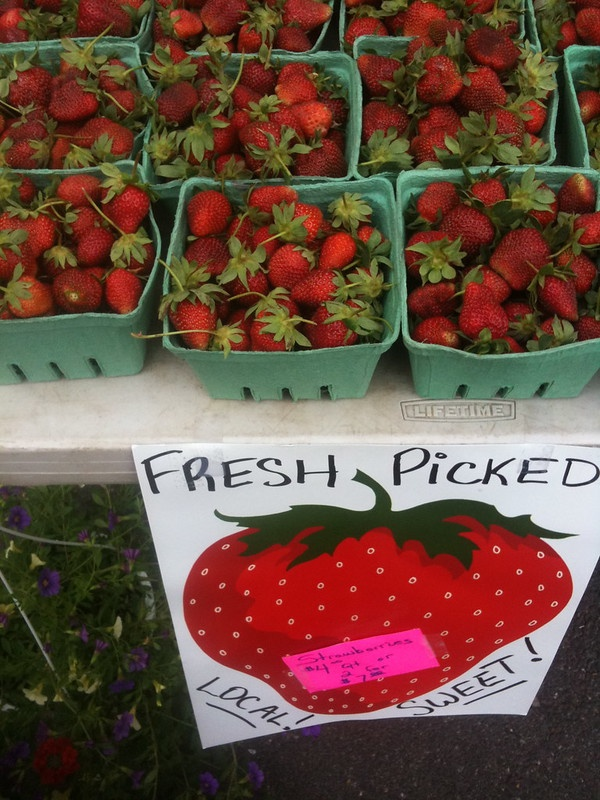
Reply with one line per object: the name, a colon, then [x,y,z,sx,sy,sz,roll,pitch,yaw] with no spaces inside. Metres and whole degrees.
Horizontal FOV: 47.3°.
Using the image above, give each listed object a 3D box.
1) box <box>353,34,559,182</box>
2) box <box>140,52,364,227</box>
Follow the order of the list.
box: [0.278,-0.555,1.336,0.413,0.146,0.307,2,90,6]
box: [-0.090,-0.543,1.408,0.429,0.159,0.308,2,86,-2]
